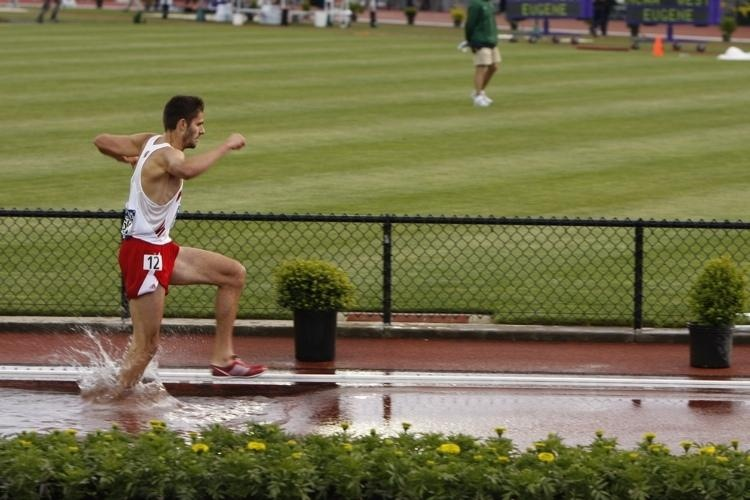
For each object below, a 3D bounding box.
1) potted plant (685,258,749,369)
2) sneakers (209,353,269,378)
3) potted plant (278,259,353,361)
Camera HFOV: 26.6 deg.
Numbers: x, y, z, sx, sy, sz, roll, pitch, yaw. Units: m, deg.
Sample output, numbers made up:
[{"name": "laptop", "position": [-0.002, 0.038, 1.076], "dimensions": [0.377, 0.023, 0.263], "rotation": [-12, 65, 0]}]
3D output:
[{"name": "potted plant", "position": [3.503, 0.647, 16.262], "dimensions": [0.587, 1.096, 0.421], "rotation": [1, 11, -2]}, {"name": "sneakers", "position": [-1.350, 1.193, 15.810], "dimensions": [0.607, 0.177, 0.189], "rotation": [0, 0, -5]}, {"name": "potted plant", "position": [-0.507, 0.634, 16.479], "dimensions": [0.872, 0.920, 0.891], "rotation": [2, -9, 21]}]
